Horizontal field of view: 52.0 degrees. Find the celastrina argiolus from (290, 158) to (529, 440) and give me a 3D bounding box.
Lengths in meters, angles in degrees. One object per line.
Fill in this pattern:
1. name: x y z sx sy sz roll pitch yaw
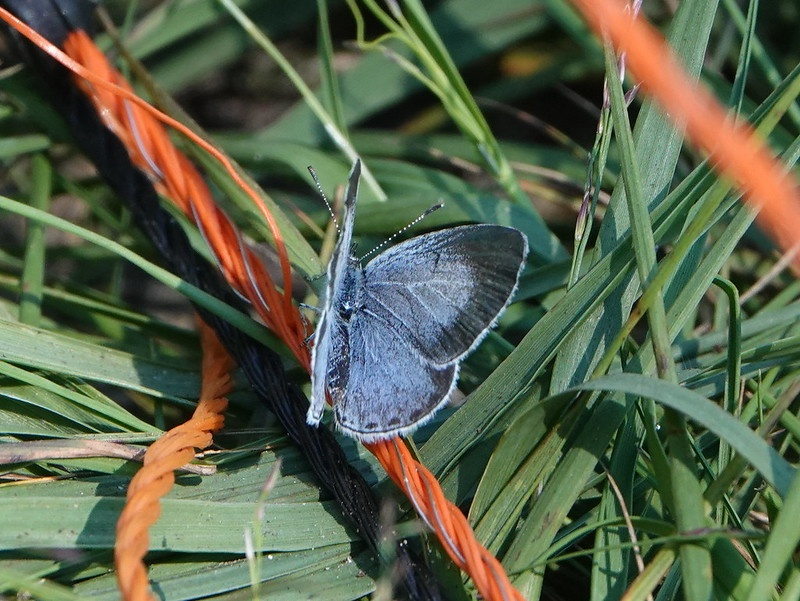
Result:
1. celastrina argiolus: 0.043 0.000 1.250 0.189 0.389 0.364 -2 7 -38
